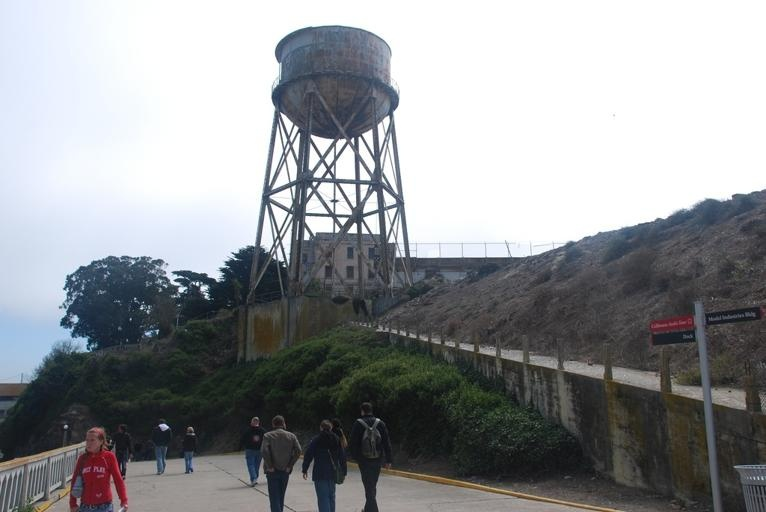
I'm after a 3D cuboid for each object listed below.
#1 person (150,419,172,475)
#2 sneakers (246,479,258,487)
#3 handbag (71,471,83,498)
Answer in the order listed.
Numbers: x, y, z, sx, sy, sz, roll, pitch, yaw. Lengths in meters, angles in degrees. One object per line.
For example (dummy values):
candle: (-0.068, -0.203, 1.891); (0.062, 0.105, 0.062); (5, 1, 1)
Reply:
person: (-7.806, 6.941, 22.246); (0.543, 1.709, 1.872); (2, -10, -19)
sneakers: (-3.820, 6.846, 18.632); (0.162, 0.228, 0.490); (4, -4, -29)
handbag: (-5.979, 4.600, 12.347); (0.197, 0.422, 0.117); (3, -9, -28)
